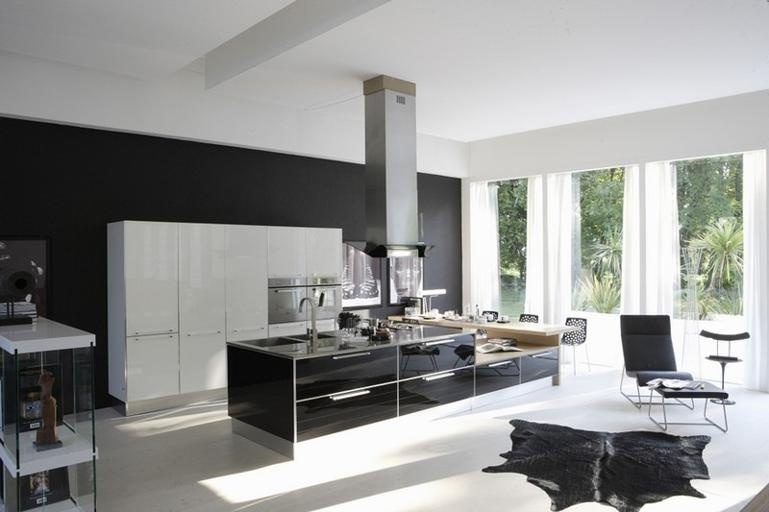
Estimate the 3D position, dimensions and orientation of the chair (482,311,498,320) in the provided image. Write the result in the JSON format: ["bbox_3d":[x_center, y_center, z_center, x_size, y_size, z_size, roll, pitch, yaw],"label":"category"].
[{"bbox_3d":[1.866,1.049,9.733,0.230,0.144,0.206,5,-7,-2],"label":"chair"}]

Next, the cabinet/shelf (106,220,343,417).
[{"bbox_3d":[-2.478,0.944,9.191,0.778,2.723,4.025,-1,-1,43],"label":"cabinet/shelf"}]

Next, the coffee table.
[{"bbox_3d":[4.117,2.034,7.487,0.893,0.434,0.910,-3,-9,27],"label":"coffee table"}]
